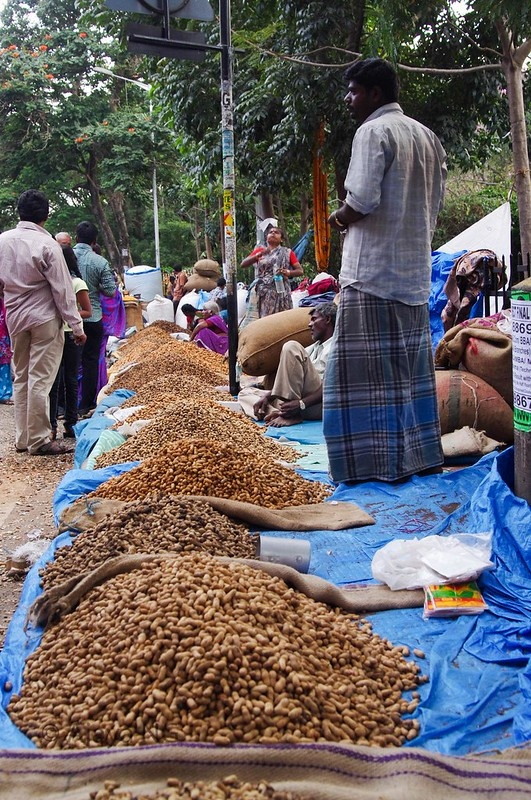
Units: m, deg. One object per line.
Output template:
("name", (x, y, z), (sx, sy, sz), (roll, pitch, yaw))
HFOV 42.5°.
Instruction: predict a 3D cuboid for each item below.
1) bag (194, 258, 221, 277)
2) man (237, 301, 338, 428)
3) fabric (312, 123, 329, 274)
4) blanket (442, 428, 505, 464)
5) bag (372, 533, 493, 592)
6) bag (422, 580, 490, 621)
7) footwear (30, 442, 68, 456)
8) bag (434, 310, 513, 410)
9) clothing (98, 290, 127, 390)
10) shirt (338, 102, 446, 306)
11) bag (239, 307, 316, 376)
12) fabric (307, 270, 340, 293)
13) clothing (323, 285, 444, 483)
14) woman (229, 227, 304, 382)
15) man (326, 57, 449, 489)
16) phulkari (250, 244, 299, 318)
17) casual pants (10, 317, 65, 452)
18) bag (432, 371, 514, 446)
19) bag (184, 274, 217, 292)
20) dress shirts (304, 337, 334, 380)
("bag", (-1.037, -2.303, 12.044), (0.390, 0.212, 0.415), (1, 11, -8))
("man", (0.206, -0.292, 5.172), (0.736, 1.006, 0.663), (5, -4, 34))
("fabric", (0.791, -2.992, 9.852), (0.207, 2.011, 0.307), (-1, 3, 27))
("blanket", (1.112, 0.238, 3.733), (0.244, 0.088, 0.231), (-12, 21, -20))
("bag", (0.533, 0.531, 2.254), (0.266, 0.095, 0.227), (-7, -3, -12))
("bag", (0.587, 0.628, 2.142), (0.200, 0.082, 0.103), (-3, 8, 0))
("footwear", (-1.777, 0.404, 5.631), (0.281, 0.117, 0.102), (-2, 9, -10))
("bag", (1.245, -0.272, 4.010), (0.546, 0.230, 0.549), (32, 26, 24))
("clothing", (-1.848, -0.759, 8.026), (0.362, 1.271, 0.319), (0, 8, -38))
("shirt", (0.638, -0.958, 3.372), (0.653, 0.984, 0.310), (-8, 10, -31))
("bag", (0.038, -0.511, 5.661), (0.580, 0.250, 0.567), (-24, 27, 6))
("fabric", (0.597, -1.202, 7.024), (0.237, 0.126, 0.295), (-6, 14, 9))
("clothing", (0.586, -0.131, 3.577), (0.731, 1.066, 0.428), (-9, 10, -29))
("woman", (0.036, -1.118, 7.344), (0.658, 1.508, 0.521), (3, -3, 11))
("man", (0.602, -0.655, 3.544), (0.721, 2.067, 0.576), (-5, 7, -35))
("phulkari", (0.057, -1.204, 7.428), (0.455, 1.059, 0.269), (8, 22, 7))
("casual pants", (-1.867, -0.216, 5.576), (0.466, 1.295, 0.342), (-4, -5, 23))
("bag", (1.196, 0.035, 3.951), (0.445, 0.443, 0.194), (2, 29, 19))
("bag", (-1.107, -2.028, 11.842), (0.541, 0.198, 0.525), (-2, 29, 0))
("dress shirts", (0.364, -0.277, 4.618), (0.101, 0.180, 0.368), (15, 9, -7))
